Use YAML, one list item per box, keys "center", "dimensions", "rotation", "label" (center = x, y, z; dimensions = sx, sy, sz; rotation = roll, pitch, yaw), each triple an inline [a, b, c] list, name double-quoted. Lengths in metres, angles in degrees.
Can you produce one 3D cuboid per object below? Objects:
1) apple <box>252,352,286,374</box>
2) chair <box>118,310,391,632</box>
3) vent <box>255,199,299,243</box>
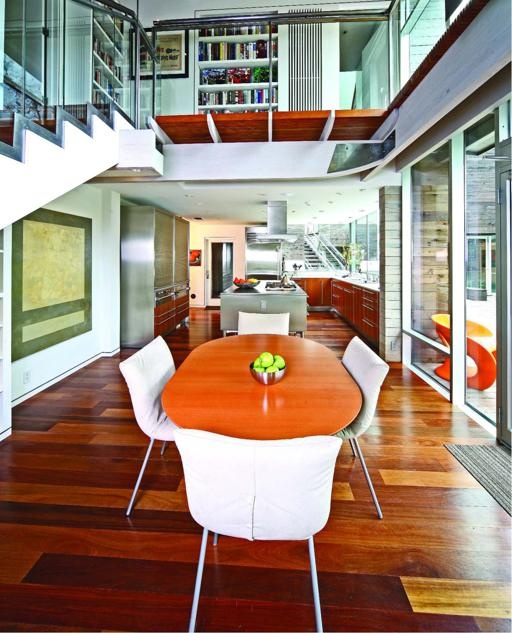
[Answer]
- center: [0.067, 0.214, 2.295]
  dimensions: [0.109, 0.058, 0.111]
  rotation: [1, 2, 17]
  label: "apple"
- center: [-0.052, 0.488, 2.164]
  dimensions: [0.955, 0.593, 1.344]
  rotation: [0, 5, 4]
  label: "chair"
- center: [0.279, -1.311, 6.775]
  dimensions: [0.608, 0.551, 0.591]
  rotation: [-1, 6, -2]
  label: "vent"
